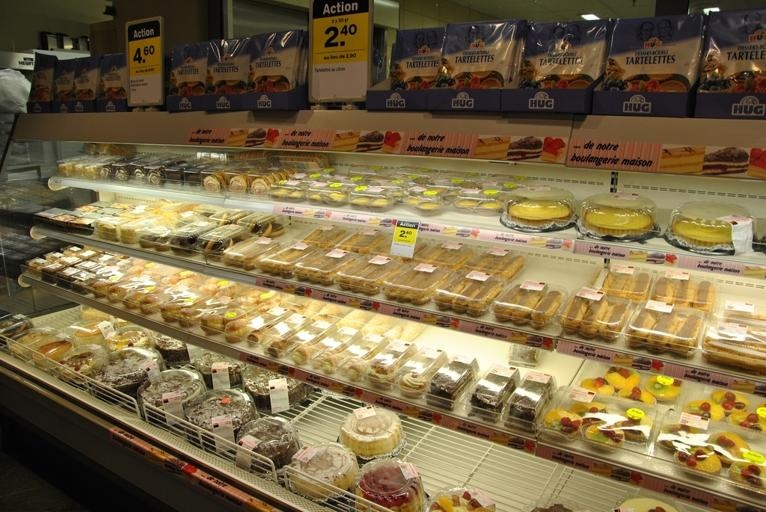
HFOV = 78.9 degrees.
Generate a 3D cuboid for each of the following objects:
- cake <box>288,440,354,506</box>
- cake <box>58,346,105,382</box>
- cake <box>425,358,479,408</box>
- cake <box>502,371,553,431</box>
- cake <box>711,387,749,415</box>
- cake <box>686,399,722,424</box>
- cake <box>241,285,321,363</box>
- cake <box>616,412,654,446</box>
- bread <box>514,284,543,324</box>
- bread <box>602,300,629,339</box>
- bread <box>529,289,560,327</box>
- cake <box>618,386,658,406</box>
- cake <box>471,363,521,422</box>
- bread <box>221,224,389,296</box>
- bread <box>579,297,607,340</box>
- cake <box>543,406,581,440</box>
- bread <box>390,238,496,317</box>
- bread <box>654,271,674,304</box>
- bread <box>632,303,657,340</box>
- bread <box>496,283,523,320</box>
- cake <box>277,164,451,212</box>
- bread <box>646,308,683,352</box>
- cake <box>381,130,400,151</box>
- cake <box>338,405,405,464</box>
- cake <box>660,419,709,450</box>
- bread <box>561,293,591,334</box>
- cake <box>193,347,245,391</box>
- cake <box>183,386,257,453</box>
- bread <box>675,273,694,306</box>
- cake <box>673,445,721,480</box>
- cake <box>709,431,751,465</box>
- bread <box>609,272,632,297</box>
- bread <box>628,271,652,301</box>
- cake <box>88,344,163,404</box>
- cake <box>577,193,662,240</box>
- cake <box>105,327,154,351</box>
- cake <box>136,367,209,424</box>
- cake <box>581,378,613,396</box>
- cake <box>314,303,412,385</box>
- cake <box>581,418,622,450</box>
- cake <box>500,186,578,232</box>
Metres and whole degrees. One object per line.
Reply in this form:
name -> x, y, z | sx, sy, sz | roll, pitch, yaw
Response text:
cake -> -0.332, 1.212, 2.620 | 0.384, 0.192, 0.280 | 9, 16, 12
cake -> -2.274, 0.809, 3.532 | 0.286, 0.075, 0.208 | -9, 23, -31
cake -> 0.384, 0.677, 2.536 | 0.183, 0.081, 0.292 | 10, 24, 29
cake -> 0.781, 0.726, 2.443 | 0.172, 0.081, 0.410 | 13, 25, 28
cake -> 1.753, 0.730, 2.343 | 0.142, 0.037, 0.125 | -2, 18, 8
cake -> 1.615, 0.773, 2.313 | 0.103, 0.045, 0.094 | -7, 12, -10
cake -> -0.644, 0.448, 3.065 | 0.278, 0.084, 0.423 | 14, 26, 27
cake -> 1.216, 0.809, 2.224 | 0.133, 0.082, 0.193 | 15, 17, 29
bread -> 0.751, 0.228, 2.370 | 0.099, 0.070, 0.267 | 4, 37, 27
bread -> 1.111, 0.288, 2.217 | 0.120, 0.067, 0.213 | 6, 45, 46
bread -> 0.813, 0.275, 2.328 | 0.114, 0.067, 0.281 | 7, 27, 32
cake -> 1.320, 0.718, 2.398 | 0.092, 0.023, 0.105 | 10, 6, 7
cake -> 0.588, 0.711, 2.451 | 0.183, 0.069, 0.297 | 9, 29, 28
bread -> -0.402, 0.009, 2.883 | 0.840, 0.094, 0.439 | 9, 35, 21
bread -> 1.027, 0.298, 2.288 | 0.125, 0.070, 0.312 | 2, 20, 29
cake -> 0.885, 0.814, 2.274 | 0.174, 0.070, 0.165 | 12, 16, 22
bread -> 0.293, 0.107, 2.647 | 0.304, 0.097, 0.496 | 13, 33, 36
bread -> 1.427, 0.159, 2.361 | 0.101, 0.036, 0.165 | 7, 33, 32
bread -> 1.216, 0.307, 2.152 | 0.071, 0.038, 0.177 | -5, 24, 42
bread -> 0.677, 0.229, 2.356 | 0.120, 0.049, 0.183 | 15, 37, 34
cake -> -0.119, -0.375, 2.722 | 0.796, 0.068, 0.394 | 7, 19, 26
bread -> 1.287, 0.319, 2.123 | 0.119, 0.066, 0.231 | 14, 46, 35
cake -> 0.055, -0.624, 2.554 | 0.113, 0.114, 0.043 | 17, 20, 32
cake -> -0.081, 1.064, 2.815 | 0.349, 0.076, 0.300 | 6, 27, -19
cake -> 1.397, 0.844, 2.155 | 0.179, 0.065, 0.175 | 15, 17, 33
bread -> 0.939, 0.275, 2.255 | 0.121, 0.066, 0.192 | 21, 57, 34
cake -> -1.183, 0.783, 3.367 | 0.336, 0.104, 0.317 | 15, 14, 29
cake -> -1.053, 1.035, 3.041 | 0.474, 0.168, 0.430 | 9, 22, 21
bread -> 1.541, 0.174, 2.403 | 0.088, 0.092, 0.251 | 9, 38, 28
cake -> 1.399, 0.901, 2.057 | 0.167, 0.075, 0.121 | 13, 17, 27
cake -> 1.580, 0.866, 2.115 | 0.180, 0.075, 0.154 | -1, 29, 10
bread -> 1.252, 0.142, 2.427 | 0.103, 0.035, 0.159 | 8, 31, 27
bread -> 1.350, 0.138, 2.414 | 0.096, 0.055, 0.254 | 6, 28, 26
cake -> -1.840, 0.825, 3.367 | 0.400, 0.128, 0.350 | 6, 23, 18
cake -> 1.208, -0.179, 2.263 | 0.357, 0.123, 0.340 | 5, 18, 40
cake -> -2.022, 0.652, 3.721 | 0.262, 0.140, 0.237 | -3, 8, -25
cake -> -1.441, 0.917, 3.214 | 0.434, 0.145, 0.374 | 9, 29, 13
cake -> 1.166, 0.702, 2.520 | 0.086, 0.029, 0.098 | -8, 18, -14
cake -> -0.114, 0.540, 2.883 | 0.381, 0.098, 0.489 | 15, 29, 36
cake -> 1.041, 0.842, 2.189 | 0.139, 0.037, 0.103 | 7, 22, 14
cake -> 0.795, -0.227, 2.388 | 0.328, 0.105, 0.299 | -9, 16, -29
